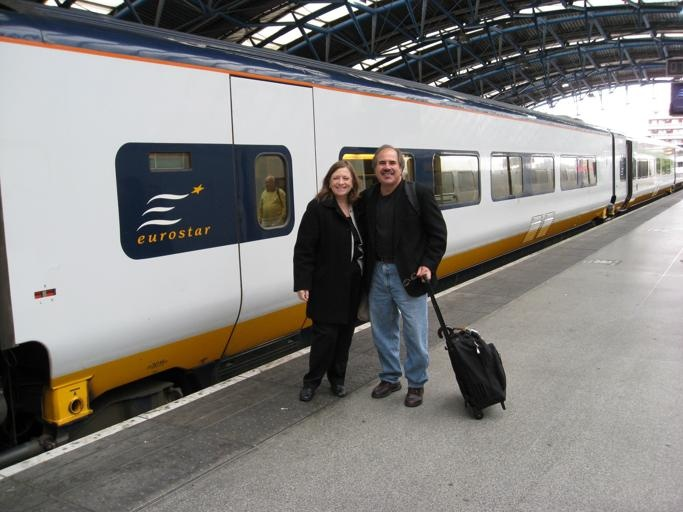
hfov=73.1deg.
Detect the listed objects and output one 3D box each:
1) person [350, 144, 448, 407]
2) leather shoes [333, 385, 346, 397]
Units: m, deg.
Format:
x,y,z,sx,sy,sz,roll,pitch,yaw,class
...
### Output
x,y,z,sx,sy,sz,roll,pitch,yaw,class
0.467,0.160,3.722,0.717,2.074,0.409,0,10,10,person
-0.021,1.153,3.911,0.130,0.060,0.054,-5,-5,42,leather shoes
